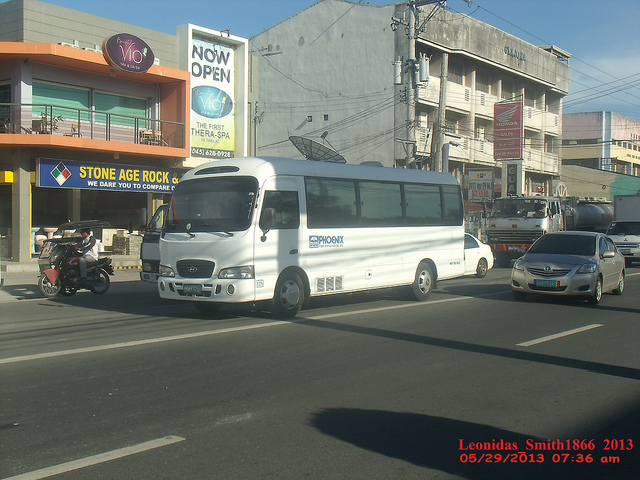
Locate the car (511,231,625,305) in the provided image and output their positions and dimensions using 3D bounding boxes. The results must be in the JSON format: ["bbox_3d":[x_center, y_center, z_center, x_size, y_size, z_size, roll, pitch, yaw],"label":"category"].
[{"bbox_3d":[6.246,0.570,17.161,1.614,1.101,2.565,-3,-7,34],"label":"car"}]

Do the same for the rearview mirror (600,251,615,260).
[{"bbox_3d":[6.878,0.349,16.799,0.242,0.070,0.260,-5,4,4],"label":"rearview mirror"}]

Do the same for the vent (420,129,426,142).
[{"bbox_3d":[6.166,-6.351,42.580,0.140,0.558,0.584,5,3,35],"label":"vent"}]

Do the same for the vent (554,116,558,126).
[{"bbox_3d":[19.983,-10.112,59.617,0.156,0.819,0.780,4,7,28],"label":"vent"}]

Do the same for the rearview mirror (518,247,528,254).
[{"bbox_3d":[7.800,0.384,27.040,0.250,0.178,0.244,-4,-2,32],"label":"rearview mirror"}]

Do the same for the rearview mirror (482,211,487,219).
[{"bbox_3d":[6.732,-1.052,28.927,0.129,0.262,0.384,3,6,13],"label":"rearview mirror"}]

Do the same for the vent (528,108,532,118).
[{"bbox_3d":[16.379,-9.937,55.011,0.152,0.579,0.602,2,3,27],"label":"vent"}]
